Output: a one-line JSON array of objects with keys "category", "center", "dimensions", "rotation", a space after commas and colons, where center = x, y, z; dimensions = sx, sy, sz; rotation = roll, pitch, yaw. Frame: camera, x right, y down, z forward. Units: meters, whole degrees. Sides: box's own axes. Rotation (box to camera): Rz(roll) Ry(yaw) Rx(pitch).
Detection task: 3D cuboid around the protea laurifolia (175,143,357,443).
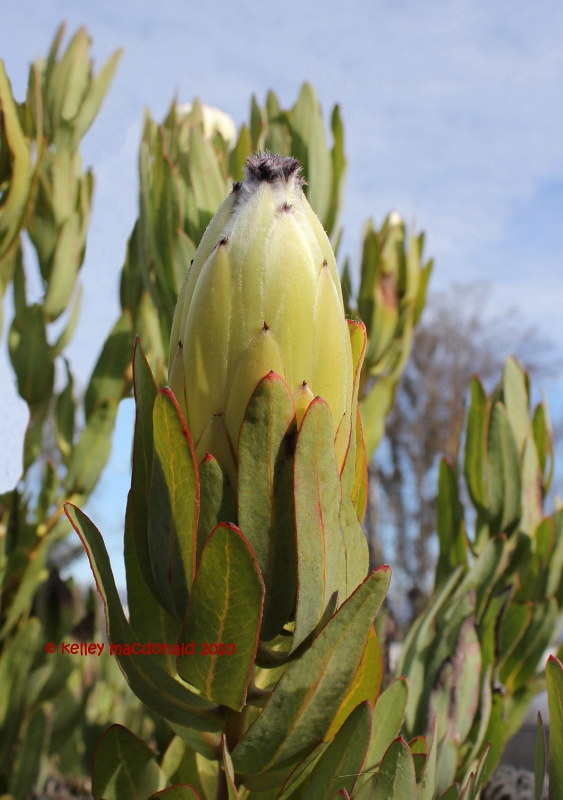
[{"category": "protea laurifolia", "center": [-0.030, -0.042, 1.456], "dimensions": [0.127, 0.356, 0.175], "rotation": [-1, -18, 21]}]
